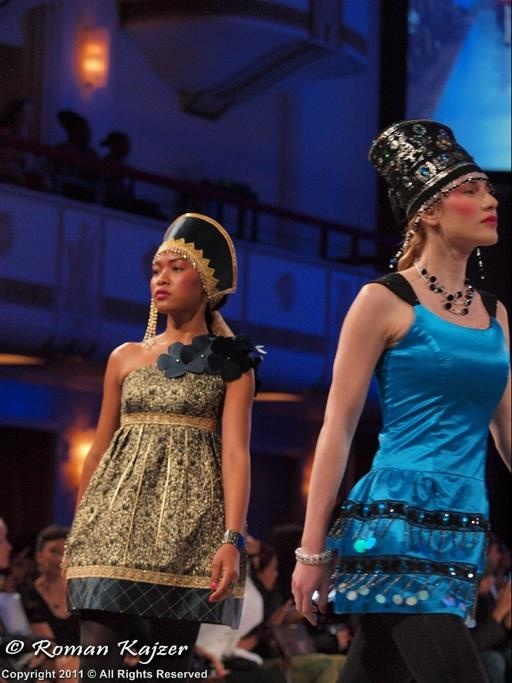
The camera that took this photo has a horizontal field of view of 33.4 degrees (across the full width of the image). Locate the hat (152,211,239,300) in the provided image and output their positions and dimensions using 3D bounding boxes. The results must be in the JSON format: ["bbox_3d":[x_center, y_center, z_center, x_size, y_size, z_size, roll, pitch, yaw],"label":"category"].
[{"bbox_3d":[-0.173,-0.311,2.925,0.292,0.298,0.134,28,37,31],"label":"hat"}]

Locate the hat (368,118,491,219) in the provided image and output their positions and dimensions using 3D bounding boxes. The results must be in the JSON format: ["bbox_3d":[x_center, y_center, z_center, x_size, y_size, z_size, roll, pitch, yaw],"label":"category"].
[{"bbox_3d":[0.415,-0.430,2.043,0.234,0.170,0.184,-16,3,-27],"label":"hat"}]

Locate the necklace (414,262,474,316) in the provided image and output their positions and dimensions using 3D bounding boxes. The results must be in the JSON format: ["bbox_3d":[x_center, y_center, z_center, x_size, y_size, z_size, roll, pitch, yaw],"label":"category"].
[{"bbox_3d":[0.426,-0.111,1.903,0.133,0.029,0.112,36,32,16],"label":"necklace"}]
